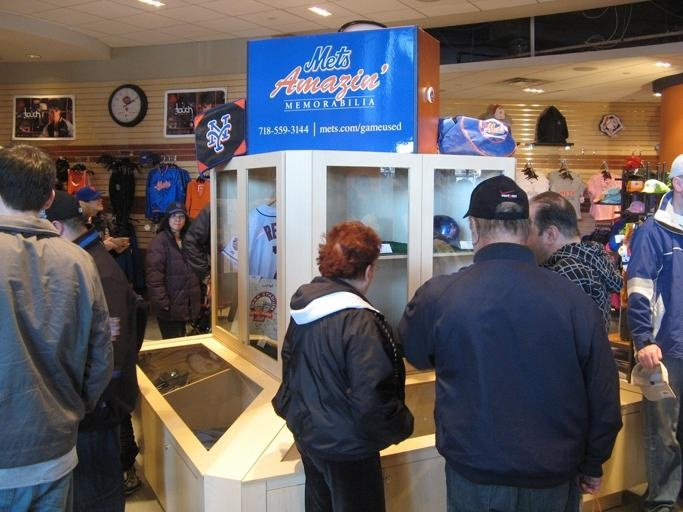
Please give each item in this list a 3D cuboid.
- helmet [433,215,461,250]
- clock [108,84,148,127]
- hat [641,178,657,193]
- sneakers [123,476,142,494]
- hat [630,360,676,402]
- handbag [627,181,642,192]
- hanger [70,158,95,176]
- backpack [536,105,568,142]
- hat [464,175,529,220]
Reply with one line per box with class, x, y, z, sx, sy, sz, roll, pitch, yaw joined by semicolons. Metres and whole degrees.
helmet;0.697;-0.165;3.942;0.224;0.223;0.177;1;0;-29
clock;-3.271;-2.315;9.087;0.477;0.492;0.093;-29;1;15
hat;2.472;-0.557;4.724;0.108;0.106;0.106;-5;9;-42
sneakers;-1.477;1.620;4.183;0.056;0.076;0.171;3;6;16
hat;1.841;0.710;3.498;0.195;0.277;0.146;-23;-8;39
handbag;2.572;-0.611;5.160;0.111;0.079;0.089;7;14;39
hanger;-4.111;-1.393;9.362;0.281;0.166;0.040;5;-1;-24
backpack;3.446;-2.156;9.713;0.679;0.697;0.405;0;8;6
hat;0.694;-0.254;2.575;0.175;0.135;0.236;1;6;-4
